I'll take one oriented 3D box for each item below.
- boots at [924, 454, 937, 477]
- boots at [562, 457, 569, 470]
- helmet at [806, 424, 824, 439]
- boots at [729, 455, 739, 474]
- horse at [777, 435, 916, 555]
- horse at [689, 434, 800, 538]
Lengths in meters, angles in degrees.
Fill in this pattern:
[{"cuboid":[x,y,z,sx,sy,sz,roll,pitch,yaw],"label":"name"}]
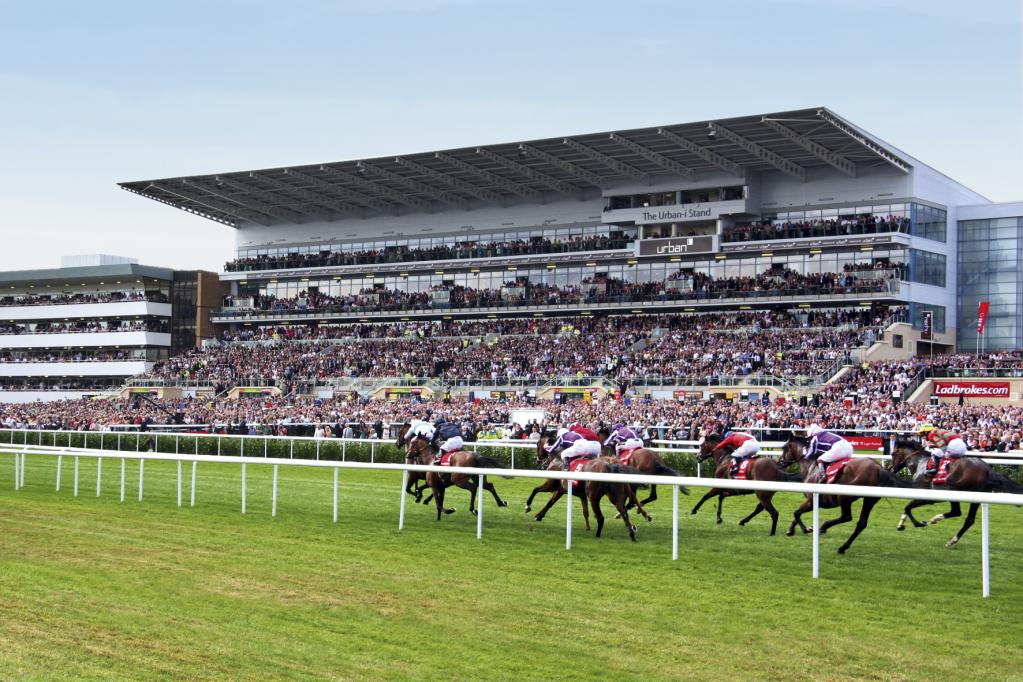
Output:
[{"cuboid":[8.124,2.372,32.456,0.204,0.343,0.338,1,6,13],"label":"boots"},{"cuboid":[1.094,2.407,32.742,0.138,0.183,0.231,0,6,3],"label":"boots"},{"cuboid":[5.904,1.768,32.693,0.250,0.157,0.308,-17,-7,-11],"label":"helmet"},{"cuboid":[4.338,2.447,33.009,0.098,0.355,0.217,10,-2,-35],"label":"boots"},{"cuboid":[6.421,2.861,31.788,0.869,2.261,3.880,13,-12,-37],"label":"horse"},{"cuboid":[4.702,2.835,33.159,0.740,2.015,3.203,8,-3,-35],"label":"horse"}]
